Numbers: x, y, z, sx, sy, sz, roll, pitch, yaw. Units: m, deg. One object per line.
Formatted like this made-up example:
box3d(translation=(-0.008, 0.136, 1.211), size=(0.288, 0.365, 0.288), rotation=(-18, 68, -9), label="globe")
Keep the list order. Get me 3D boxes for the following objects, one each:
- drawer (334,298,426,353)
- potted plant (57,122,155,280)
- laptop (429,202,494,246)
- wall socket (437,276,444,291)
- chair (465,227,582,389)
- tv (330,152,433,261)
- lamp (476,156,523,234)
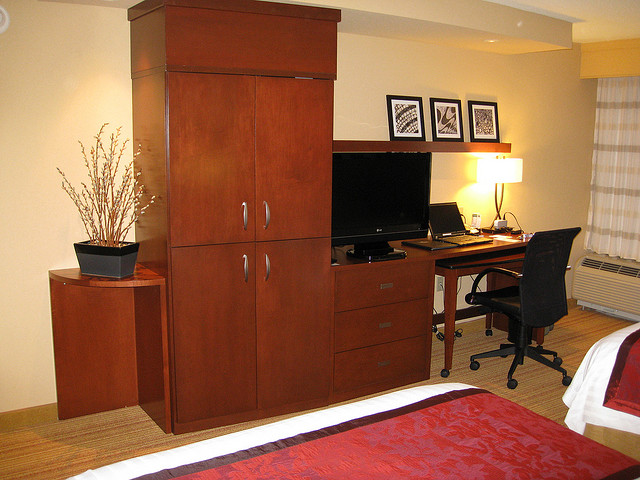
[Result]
box3d(translation=(0.425, 0.629, 4.113), size=(0.906, 0.273, 0.651), rotation=(-5, 6, -13), label="drawer")
box3d(translation=(-1.442, -0.282, 3.325), size=(0.498, 1.043, 0.554), rotation=(-6, 8, -34), label="potted plant")
box3d(translation=(1.313, -0.154, 4.540), size=(0.500, 0.292, 0.427), rotation=(-9, 15, -39), label="laptop")
box3d(translation=(1.219, 0.440, 4.935), size=(0.139, 0.121, 0.031), rotation=(-6, 10, -26), label="wall socket")
box3d(translation=(1.725, 0.549, 4.243), size=(0.784, 1.205, 0.781), rotation=(-2, 4, -13), label="chair")
box3d(translation=(0.480, -0.287, 3.996), size=(1.131, 0.822, 0.268), rotation=(-5, 13, -36), label="tv")
box3d(translation=(1.830, -0.451, 5.020), size=(0.504, 0.764, 0.391), rotation=(-8, 10, -43), label="lamp")
